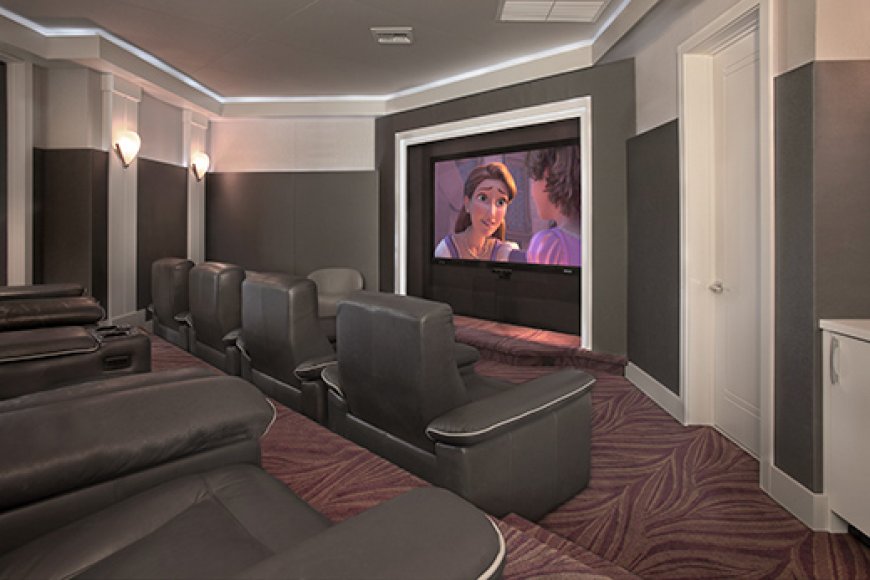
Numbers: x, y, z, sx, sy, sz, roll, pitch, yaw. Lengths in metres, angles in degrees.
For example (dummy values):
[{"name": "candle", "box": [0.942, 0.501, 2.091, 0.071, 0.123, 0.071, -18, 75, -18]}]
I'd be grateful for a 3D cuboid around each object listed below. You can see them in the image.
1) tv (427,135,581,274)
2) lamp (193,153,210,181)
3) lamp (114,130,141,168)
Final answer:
[{"name": "tv", "box": [0.894, -1.049, 6.474, 0.037, 1.006, 1.710, -4, 6, -42]}, {"name": "lamp", "box": [-3.306, -1.748, 7.648, 0.185, 0.392, 0.413, -2, 8, -14]}, {"name": "lamp", "box": [-3.502, -1.604, 6.137, 0.198, 0.397, 0.223, 0, 8, 2]}]
